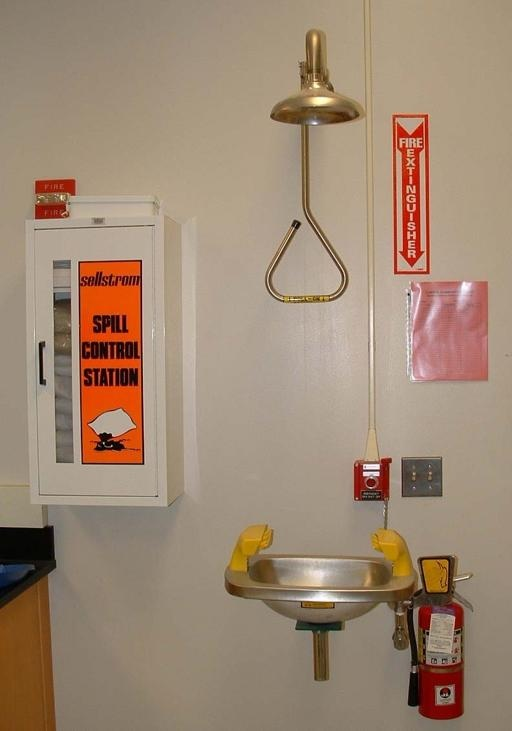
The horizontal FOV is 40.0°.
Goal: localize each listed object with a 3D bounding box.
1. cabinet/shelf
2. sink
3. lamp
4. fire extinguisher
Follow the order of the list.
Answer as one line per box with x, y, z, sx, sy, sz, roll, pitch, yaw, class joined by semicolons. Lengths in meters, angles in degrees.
-0.441;-0.017;2.090;0.441;0.837;0.253;0;-1;13;cabinet/shelf
0.169;0.605;1.855;0.495;0.133;0.319;0;2;13;sink
0.151;-0.562;1.975;0.293;0.751;0.445;0;2;7;lamp
0.540;0.802;2.072;0.196;0.448;0.131;-2;7;2;fire extinguisher
